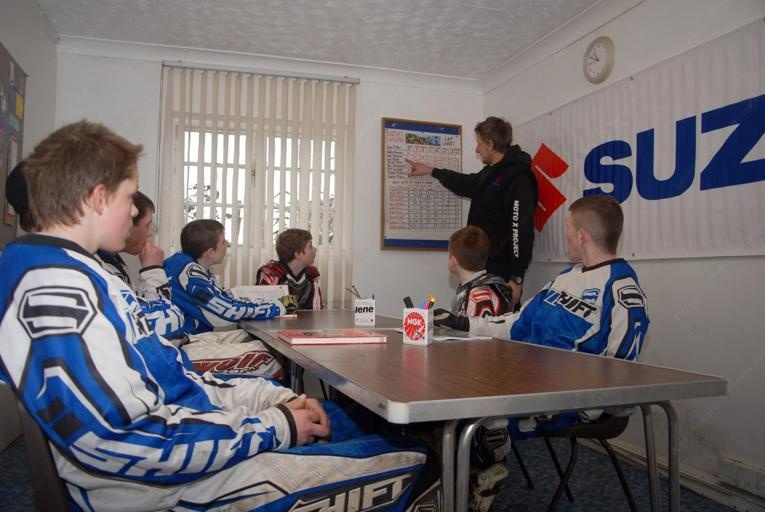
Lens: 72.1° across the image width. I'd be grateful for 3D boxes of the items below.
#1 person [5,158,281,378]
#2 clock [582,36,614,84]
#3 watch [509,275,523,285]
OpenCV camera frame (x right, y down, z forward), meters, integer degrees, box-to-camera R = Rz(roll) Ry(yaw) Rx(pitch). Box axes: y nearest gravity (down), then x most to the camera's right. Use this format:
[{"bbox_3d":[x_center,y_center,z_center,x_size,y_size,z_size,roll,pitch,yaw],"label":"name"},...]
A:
[{"bbox_3d":[-1.009,0.045,2.287,1.307,0.566,0.760,46,30,25],"label":"person"},{"bbox_3d":[1.498,-1.344,3.640,0.054,0.312,0.239,-3,7,-23],"label":"clock"},{"bbox_3d":[0.993,0.179,3.889,0.064,0.039,0.068,6,4,23],"label":"watch"}]
